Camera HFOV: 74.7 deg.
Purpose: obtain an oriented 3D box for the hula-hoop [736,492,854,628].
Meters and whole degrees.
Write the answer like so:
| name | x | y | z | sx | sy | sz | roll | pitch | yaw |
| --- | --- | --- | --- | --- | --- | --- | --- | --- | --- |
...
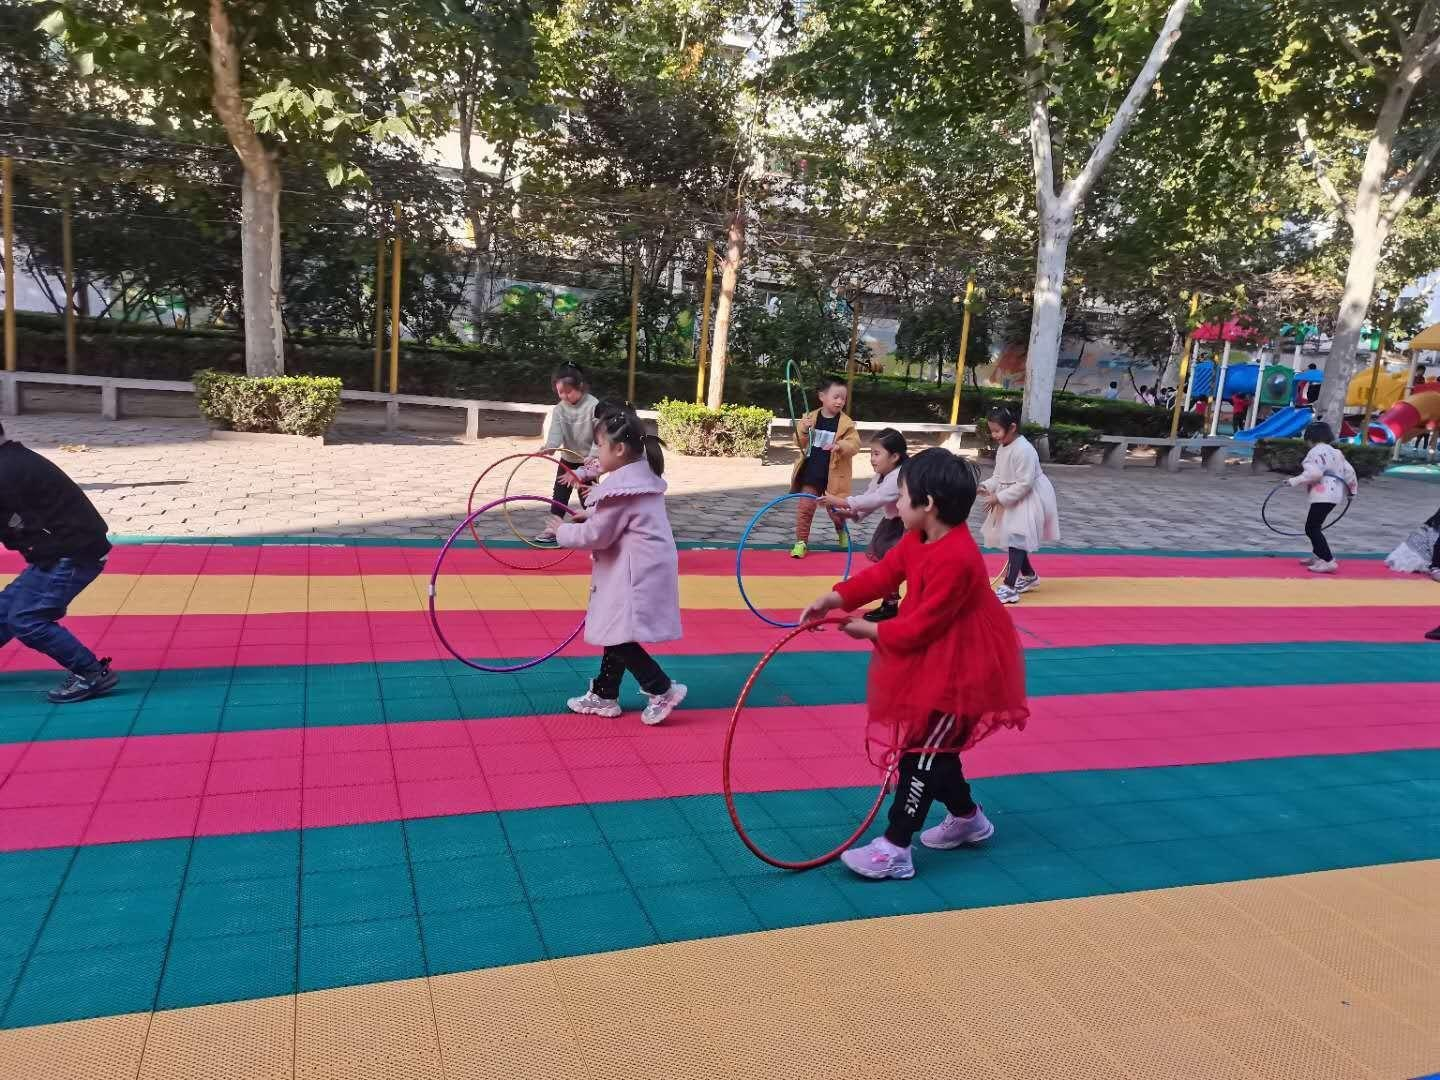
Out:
| name | x | y | z | sx | sy | sz | roll | pitch | yaw |
| --- | --- | --- | --- | --- | --- | --- | --- | --- | --- |
| hula-hoop | 0.615 | 0.182 | 7.839 | 1.357 | 1.098 | 0.049 | 13 | 4 | -18 |

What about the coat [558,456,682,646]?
| name | x | y | z | sx | sy | sz | roll | pitch | yaw |
| --- | --- | --- | --- | --- | --- | --- | --- | --- | --- |
| coat | -0.478 | 0.076 | 4.721 | 0.503 | 0.911 | 0.389 | -6 | 16 | -36 |

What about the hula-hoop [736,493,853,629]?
| name | x | y | z | sx | sy | sz | roll | pitch | yaw |
| --- | --- | --- | --- | --- | --- | --- | --- | --- | --- |
| hula-hoop | 0.610 | 0.190 | 7.814 | 1.374 | 1.103 | 0.048 | 12 | 4 | -20 |

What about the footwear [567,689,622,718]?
| name | x | y | z | sx | sy | sz | roll | pitch | yaw |
| --- | --- | --- | --- | --- | --- | --- | --- | --- | --- |
| footwear | -0.666 | 0.908 | 5.111 | 0.331 | 0.117 | 0.121 | 6 | 5 | 10 |

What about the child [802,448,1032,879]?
| name | x | y | z | sx | sy | sz | roll | pitch | yaw |
| --- | --- | --- | --- | --- | --- | --- | --- | --- | --- |
| child | 0.801 | 0.512 | 3.739 | 0.853 | 1.740 | 0.445 | 5 | 14 | 6 |

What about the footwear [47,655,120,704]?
| name | x | y | z | sx | sy | sz | roll | pitch | yaw |
| --- | --- | --- | --- | --- | --- | --- | --- | --- | --- |
| footwear | -3.254 | 0.746 | 4.843 | 0.384 | 0.175 | 0.127 | -10 | 10 | -27 |
